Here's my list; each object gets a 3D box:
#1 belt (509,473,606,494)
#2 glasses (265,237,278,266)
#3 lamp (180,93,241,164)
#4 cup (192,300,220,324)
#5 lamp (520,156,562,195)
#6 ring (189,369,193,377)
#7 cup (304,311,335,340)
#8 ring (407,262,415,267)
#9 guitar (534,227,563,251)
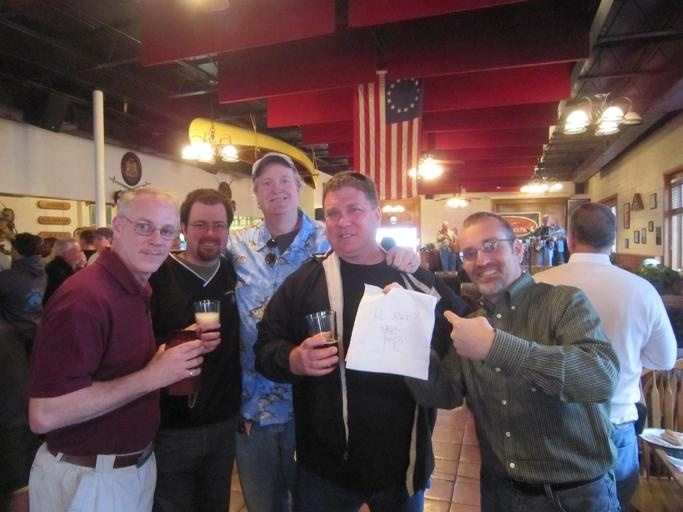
[{"bbox_3d":[1.140,1.220,2.823,0.482,0.104,0.067,0,2,8],"label":"belt"},{"bbox_3d":[-0.462,-0.036,3.454,0.055,0.151,0.109,3,-1,-12],"label":"glasses"},{"bbox_3d":[-1.964,-1.906,8.053,0.585,0.680,0.599,-5,3,-7],"label":"lamp"},{"bbox_3d":[-0.773,0.319,3.083,0.123,0.126,0.132,1,1,0],"label":"cup"},{"bbox_3d":[5.019,-2.104,13.414,0.711,0.585,0.706,-9,6,-17],"label":"lamp"},{"bbox_3d":[-0.814,0.628,2.876,0.021,0.029,0.008,-11,-6,-32],"label":"ring"},{"bbox_3d":[-0.114,0.361,2.795,0.140,0.141,0.150,-4,-5,0],"label":"cup"},{"bbox_3d":[0.403,0.051,3.084,0.032,0.028,0.011,0,-3,3],"label":"ring"},{"bbox_3d":[2.977,-0.276,7.658,0.343,0.107,0.343,-4,11,1],"label":"guitar"}]
